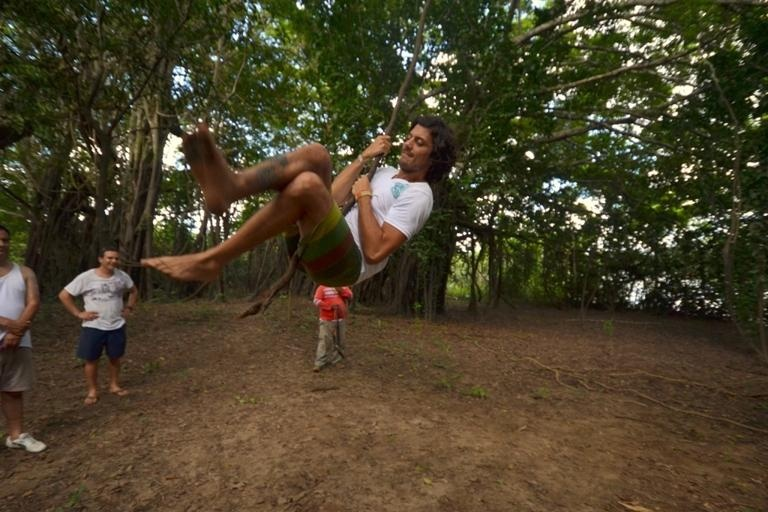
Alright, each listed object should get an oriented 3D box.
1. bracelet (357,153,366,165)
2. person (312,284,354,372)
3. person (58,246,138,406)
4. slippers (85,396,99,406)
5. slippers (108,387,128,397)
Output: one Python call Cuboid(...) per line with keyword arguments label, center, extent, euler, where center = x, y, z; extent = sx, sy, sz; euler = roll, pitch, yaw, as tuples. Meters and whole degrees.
Cuboid(label="bracelet", center=(-0.256, -1.090, 4.262), extent=(0.062, 0.085, 0.087), euler=(-18, 2, -25))
Cuboid(label="person", center=(-0.937, 1.148, 6.273), extent=(0.437, 1.306, 0.946), euler=(5, 9, 15))
Cuboid(label="person", center=(-3.909, 0.912, 5.210), extent=(0.780, 1.965, 0.801), euler=(-3, 10, -30))
Cuboid(label="slippers", center=(-3.889, 1.903, 5.008), extent=(0.159, 0.072, 0.137), euler=(-2, 10, -24))
Cuboid(label="slippers", center=(-3.655, 1.866, 5.207), extent=(0.195, 0.075, 0.112), euler=(8, 10, -4))
